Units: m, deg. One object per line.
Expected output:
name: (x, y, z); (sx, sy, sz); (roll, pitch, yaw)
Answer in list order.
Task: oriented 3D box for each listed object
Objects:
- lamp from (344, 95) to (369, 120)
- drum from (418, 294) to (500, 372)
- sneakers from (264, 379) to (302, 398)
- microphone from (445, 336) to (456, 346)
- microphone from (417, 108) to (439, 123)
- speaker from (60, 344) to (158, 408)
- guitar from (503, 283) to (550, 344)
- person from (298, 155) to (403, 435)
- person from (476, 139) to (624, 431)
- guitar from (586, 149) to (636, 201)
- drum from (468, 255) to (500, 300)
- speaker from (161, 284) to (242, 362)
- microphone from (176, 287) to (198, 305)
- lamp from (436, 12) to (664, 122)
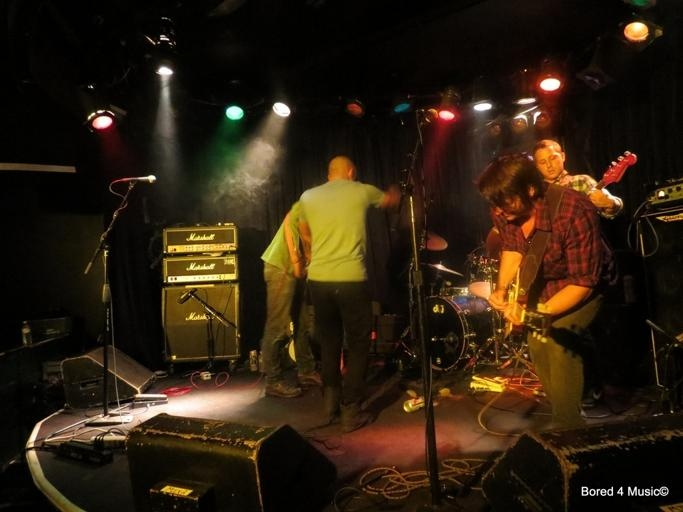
lamp: (0.187, -1.875, 7.778); (0.247, 0.233, 0.583); (-2, 12, 4)
drum: (1.204, 0.842, 6.713); (0.815, 0.885, 0.603); (4, 5, 44)
sneakers: (-0.597, 1.382, 6.404); (0.371, 0.187, 0.163); (-3, -9, 8)
microphone: (1.142, 0.885, 6.426); (0.083, 0.089, 0.036); (-14, -7, 42)
microphone: (0.704, -1.145, 4.962); (0.147, 0.037, 0.150); (-1, -24, -3)
speaker: (-2.469, 1.171, 6.641); (0.763, 0.595, 0.985); (-7, 10, -6)
guitar: (1.430, 0.449, 4.710); (0.336, 0.505, 0.614); (0, 12, 15)
person: (0.046, 0.331, 5.568); (0.778, 2.382, 0.719); (-8, 13, -21)
person: (1.565, 0.301, 4.715); (0.919, 2.125, 0.754); (3, 13, 24)
guitar: (2.825, -0.830, 6.408); (0.101, 0.289, 0.750); (12, -43, -25)
drum: (1.517, 0.225, 6.544); (0.349, 0.467, 0.452); (7, -3, -23)
speaker: (-1.679, 0.708, 7.606); (0.988, 0.983, 0.801); (0, 15, 2)
microphone: (-1.801, 0.462, 7.244); (0.178, 0.063, 0.176); (-46, 1, -12)
lamp: (2.155, -2.058, 7.225); (0.804, 0.854, 3.010); (-12, 10, -38)
